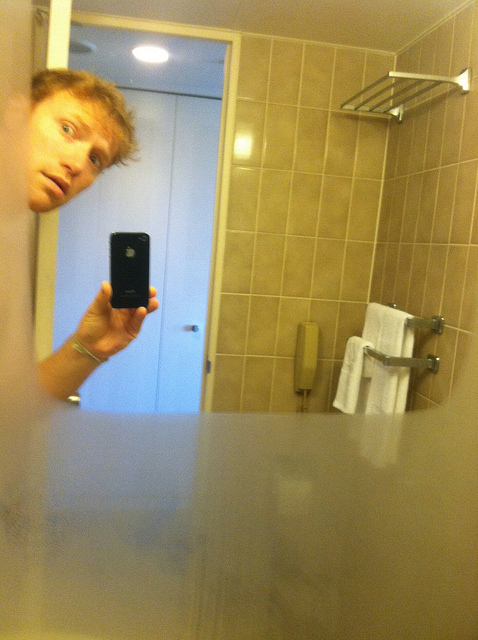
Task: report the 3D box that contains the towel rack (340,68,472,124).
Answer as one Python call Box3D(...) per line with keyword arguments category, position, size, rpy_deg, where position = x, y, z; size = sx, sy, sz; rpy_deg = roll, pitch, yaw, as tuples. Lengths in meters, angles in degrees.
Box3D(category="towel rack", position=(0.140, -0.179, 0.431), size=(0.112, 0.045, 0.053), rpy_deg=(-1, 15, -25))

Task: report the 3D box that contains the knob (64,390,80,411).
Box3D(category="knob", position=(-0.076, 0.037, 0.244), size=(0.006, 0.010, 0.004), rpy_deg=(1, 13, -15))
